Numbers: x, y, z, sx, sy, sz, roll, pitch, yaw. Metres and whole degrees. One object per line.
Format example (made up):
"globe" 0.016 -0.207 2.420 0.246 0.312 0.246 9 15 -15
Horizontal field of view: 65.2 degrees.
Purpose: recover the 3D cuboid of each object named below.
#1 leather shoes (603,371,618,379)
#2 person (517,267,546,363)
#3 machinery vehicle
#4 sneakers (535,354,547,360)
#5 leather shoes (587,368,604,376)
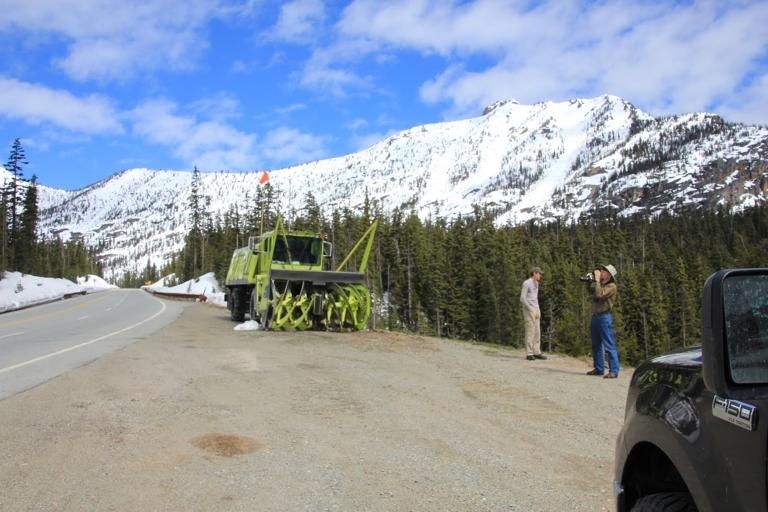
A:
"leather shoes" 4.675 2.449 12.389 0.269 0.119 0.151 3 -10 11
"person" 3.711 1.431 14.885 0.589 2.328 1.248 -1 -2 15
"machinery vehicle" -3.366 1.161 22.132 2.791 3.210 8.087 4 -10 -22
"sneakers" 3.978 2.562 15.257 0.323 0.145 0.134 1 -3 -10
"leather shoes" 4.458 2.462 12.691 0.323 0.146 0.141 0 -7 37
